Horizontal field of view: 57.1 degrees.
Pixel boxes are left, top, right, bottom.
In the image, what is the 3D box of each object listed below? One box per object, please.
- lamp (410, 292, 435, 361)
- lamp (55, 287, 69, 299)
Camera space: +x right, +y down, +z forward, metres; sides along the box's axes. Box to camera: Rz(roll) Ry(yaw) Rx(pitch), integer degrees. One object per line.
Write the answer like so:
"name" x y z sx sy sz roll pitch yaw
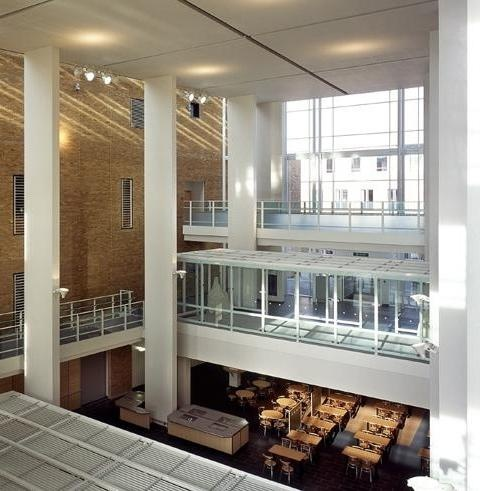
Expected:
"lamp" 2.859 1.227 6.970 0.355 1.135 1.901 3 -12 21
"lamp" -3.485 0.909 8.621 0.228 0.173 0.507 12 -12 -24
